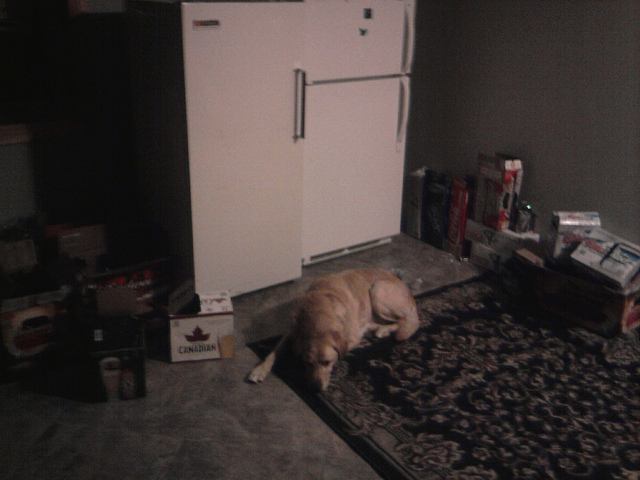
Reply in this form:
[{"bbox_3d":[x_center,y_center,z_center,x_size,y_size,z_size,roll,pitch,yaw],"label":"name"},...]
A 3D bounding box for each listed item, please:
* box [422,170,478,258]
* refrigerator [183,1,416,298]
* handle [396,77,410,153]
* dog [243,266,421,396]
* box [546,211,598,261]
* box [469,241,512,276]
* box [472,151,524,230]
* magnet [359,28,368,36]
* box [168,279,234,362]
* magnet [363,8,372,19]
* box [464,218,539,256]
[{"bbox_3d":[1.319,-0.256,5.482,0.353,0.735,0.492,-23,40,-39],"label":"box"},{"bbox_3d":[-0.216,-0.788,4.506,1.946,2.035,0.778,-19,33,-39],"label":"refrigerator"},{"bbox_3d":[0.791,-1.280,5.400,0.142,0.846,0.102,3,-18,18],"label":"handle"},{"bbox_3d":[0.166,0.592,4.122,0.679,0.474,1.304,13,30,29],"label":"dog"},{"bbox_3d":[2.244,-0.064,4.698,0.411,0.455,0.256,-3,26,15],"label":"box"},{"bbox_3d":[1.752,0.206,5.367,0.333,0.247,0.461,23,-9,-36],"label":"box"},{"bbox_3d":[1.679,-0.468,5.177,0.223,0.678,0.426,-15,24,-38],"label":"box"},{"bbox_3d":[0.380,-1.829,4.764,0.017,0.062,0.100,14,26,38],"label":"magnet"},{"bbox_3d":[-0.899,0.603,4.141,0.446,0.553,0.497,-3,8,-14],"label":"box"},{"bbox_3d":[0.415,-1.987,4.753,0.086,0.094,0.024,-7,10,-36],"label":"magnet"},{"bbox_3d":[1.669,-0.031,5.186,0.405,0.153,0.371,31,23,37],"label":"box"}]
